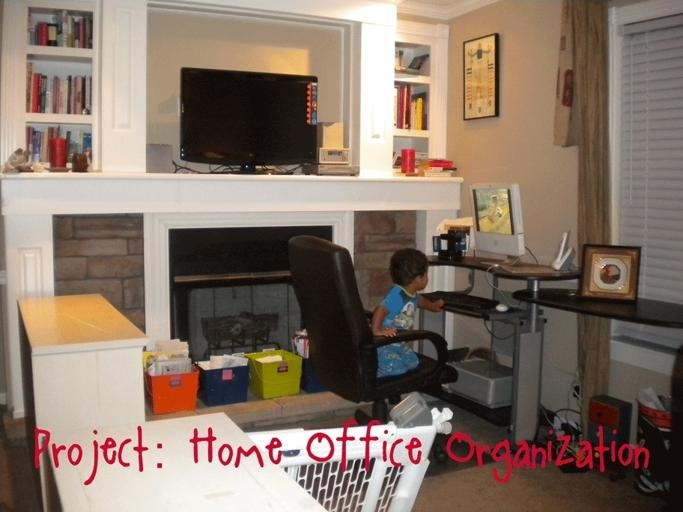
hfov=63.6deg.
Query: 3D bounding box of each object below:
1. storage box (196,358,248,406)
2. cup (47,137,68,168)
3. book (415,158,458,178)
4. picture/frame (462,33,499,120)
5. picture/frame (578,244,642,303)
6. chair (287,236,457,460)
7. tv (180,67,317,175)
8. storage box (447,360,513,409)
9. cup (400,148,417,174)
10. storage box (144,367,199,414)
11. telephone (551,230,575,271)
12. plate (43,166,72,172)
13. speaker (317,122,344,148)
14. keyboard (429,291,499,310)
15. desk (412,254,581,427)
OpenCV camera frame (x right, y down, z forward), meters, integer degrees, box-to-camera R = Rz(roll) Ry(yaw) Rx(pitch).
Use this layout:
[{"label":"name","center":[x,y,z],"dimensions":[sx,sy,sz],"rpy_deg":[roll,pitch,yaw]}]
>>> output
[{"label":"storage box","center":[-0.758,0.798,3.606],"dimensions":[0.282,0.230,0.311],"rpy_deg":[0,-1,-22]},{"label":"cup","center":[-1.809,-0.656,3.541],"dimensions":[0.096,0.199,0.140],"rpy_deg":[-4,9,-28]},{"label":"book","center":[0.775,-0.712,4.482],"dimensions":[0.319,0.135,0.229],"rpy_deg":[1,8,7]},{"label":"picture/frame","center":[1.101,-1.394,4.313],"dimensions":[0.075,0.615,0.389],"rpy_deg":[-3,8,-24]},{"label":"picture/frame","center":[1.476,0.102,3.035],"dimensions":[0.274,0.332,0.032],"rpy_deg":[6,-8,19]},{"label":"chair","center":[0.135,0.349,3.347],"dimensions":[0.961,1.565,0.865],"rpy_deg":[-5,9,-24]},{"label":"tv","center":[-0.675,-0.971,3.930],"dimensions":[0.818,0.607,0.091],"rpy_deg":[0,0,-19]},{"label":"storage box","center":[1.021,0.859,3.729],"dimensions":[0.319,0.203,0.442],"rpy_deg":[-6,11,-26]},{"label":"cup","center":[0.548,-0.760,4.497],"dimensions":[0.120,0.204,0.091],"rpy_deg":[2,8,15]},{"label":"storage box","center":[-1.020,0.839,3.383],"dimensions":[0.263,0.245,0.265],"rpy_deg":[-1,1,-21]},{"label":"telephone","center":[1.407,-0.036,3.485],"dimensions":[0.120,0.223,0.224],"rpy_deg":[11,10,27]},{"label":"plate","center":[-1.781,-0.543,3.485],"dimensions":[0.152,0.034,0.248],"rpy_deg":[-4,10,-27]},{"label":"speaker","center":[-0.072,-0.889,4.197],"dimensions":[0.227,0.242,0.179],"rpy_deg":[-2,8,-20]},{"label":"keyboard","center":[0.764,0.280,3.494],"dimensions":[0.152,0.053,0.260],"rpy_deg":[-4,8,-33]},{"label":"desk","center":[1.021,0.549,3.501],"dimensions":[0.433,0.707,1.073],"rpy_deg":[-2,7,-19]}]
